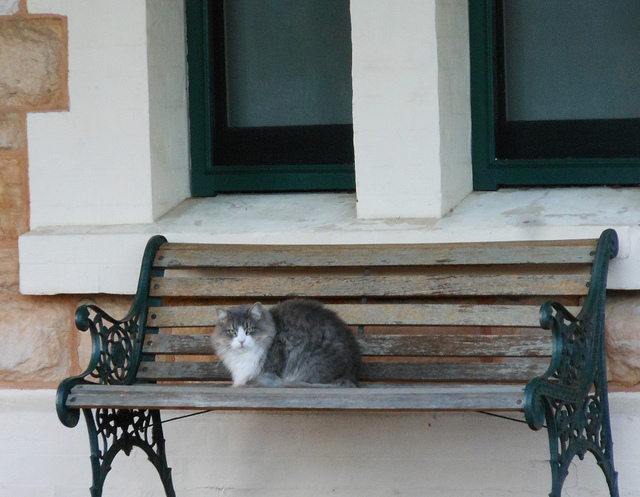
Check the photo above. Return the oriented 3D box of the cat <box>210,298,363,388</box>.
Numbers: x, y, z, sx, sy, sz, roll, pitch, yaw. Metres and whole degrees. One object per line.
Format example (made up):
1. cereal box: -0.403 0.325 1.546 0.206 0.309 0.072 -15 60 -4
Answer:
1. cat: -0.166 0.415 5.874 0.731 0.464 0.495 3 26 -23
